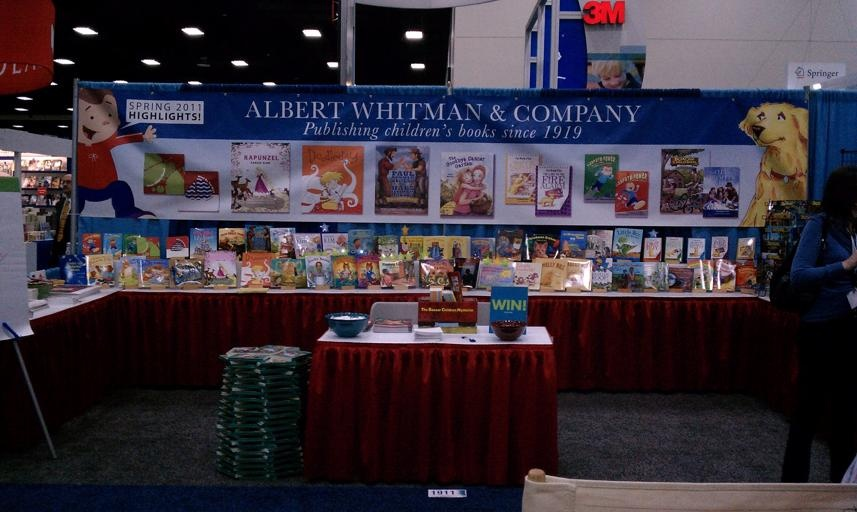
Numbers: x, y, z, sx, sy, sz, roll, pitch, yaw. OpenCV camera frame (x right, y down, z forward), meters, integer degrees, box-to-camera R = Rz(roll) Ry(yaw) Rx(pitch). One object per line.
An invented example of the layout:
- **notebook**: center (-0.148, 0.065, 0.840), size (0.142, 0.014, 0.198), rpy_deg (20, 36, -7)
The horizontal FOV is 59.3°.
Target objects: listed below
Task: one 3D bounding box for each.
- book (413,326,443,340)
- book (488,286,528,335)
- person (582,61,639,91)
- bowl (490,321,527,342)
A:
- **book**: center (0.012, 0.752, 7.412), size (0.271, 0.082, 0.207), rpy_deg (-2, 10, 0)
- **book**: center (0.804, 0.536, 7.417), size (0.460, 0.568, 0.056), rpy_deg (1, 3, 2)
- **person**: center (2.619, -2.572, 10.637), size (0.836, 0.367, 0.187), rpy_deg (-5, 10, -21)
- **bowl**: center (0.800, 0.722, 7.405), size (0.337, 0.182, 0.205), rpy_deg (-2, 10, -2)
